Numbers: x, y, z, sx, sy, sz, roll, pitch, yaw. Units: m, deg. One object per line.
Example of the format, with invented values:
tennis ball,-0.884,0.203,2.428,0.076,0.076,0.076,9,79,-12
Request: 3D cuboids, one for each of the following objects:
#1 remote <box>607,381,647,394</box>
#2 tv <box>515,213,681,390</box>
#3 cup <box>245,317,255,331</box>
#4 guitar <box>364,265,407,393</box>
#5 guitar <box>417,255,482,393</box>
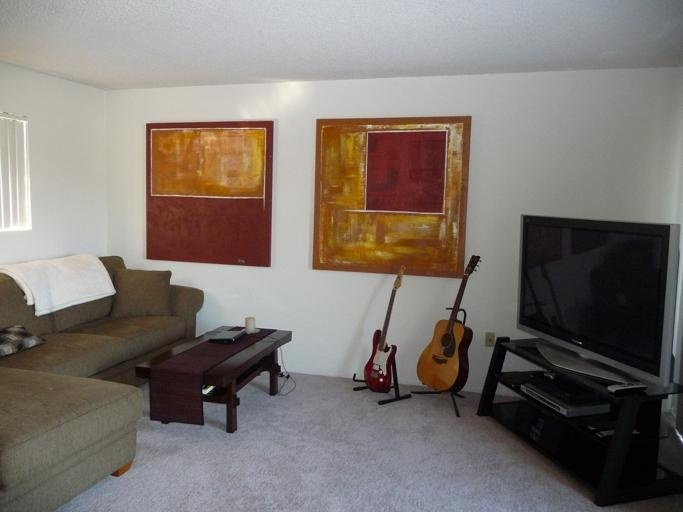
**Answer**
remote,1.778,0.830,3.226,0.113,0.027,0.106,1,2,-17
tv,1.763,0.334,3.540,0.139,0.904,1.295,-3,9,-34
cup,-0.795,0.601,4.565,0.107,0.109,0.095,1,2,-39
guitar,0.378,0.659,4.541,0.284,1.102,0.526,2,13,7
guitar,0.864,0.573,4.250,0.426,1.122,0.374,3,14,10
